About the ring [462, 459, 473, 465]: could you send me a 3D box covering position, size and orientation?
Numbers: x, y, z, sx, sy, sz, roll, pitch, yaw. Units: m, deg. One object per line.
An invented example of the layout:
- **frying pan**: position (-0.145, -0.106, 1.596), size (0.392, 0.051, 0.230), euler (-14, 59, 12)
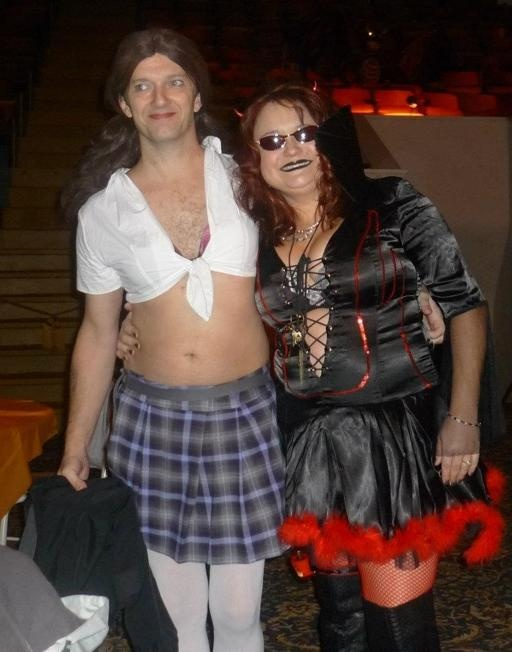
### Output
- **ring**: position (0.448, 0.292, 1.282), size (0.013, 0.015, 0.009), euler (-5, -4, 18)
